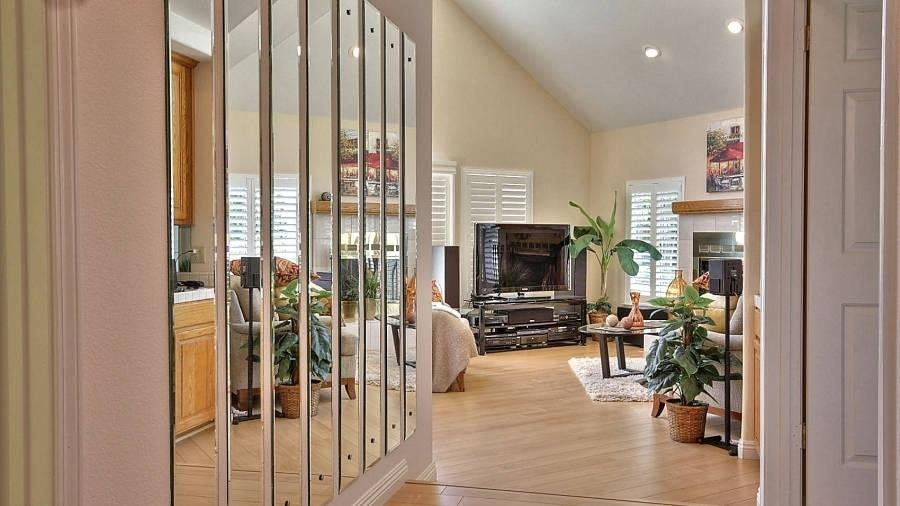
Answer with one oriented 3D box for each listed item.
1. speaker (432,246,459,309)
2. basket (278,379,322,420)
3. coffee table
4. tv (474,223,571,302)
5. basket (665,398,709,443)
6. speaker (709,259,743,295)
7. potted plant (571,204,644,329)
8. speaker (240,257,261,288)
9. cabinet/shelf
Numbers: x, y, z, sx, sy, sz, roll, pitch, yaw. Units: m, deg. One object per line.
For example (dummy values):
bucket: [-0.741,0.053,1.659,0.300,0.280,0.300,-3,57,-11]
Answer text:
speaker: [-0.053,0.268,7.527,0.294,0.736,0.229,-1,4,-4]
basket: [-0.668,0.643,2.810,0.177,0.114,0.169,0,-4,-6]
coffee table: [1.812,0.868,6.449,0.775,0.457,0.975,-9,7,-37]
tv: [0.980,0.059,8.374,1.491,0.951,0.098,0,1,-25]
basket: [1.829,1.247,4.708,0.335,0.249,0.355,-6,-9,41]
speaker: [1.956,0.157,4.457,0.222,0.237,0.223,-1,1,27]
potted plant: [2.174,0.025,8.935,1.178,1.504,1.047,-1,6,-28]
speaker: [-0.813,0.074,2.557,0.109,0.142,0.108,0,0,-2]
cabinet/shelf: [1.019,0.867,8.229,1.514,0.509,0.475,-3,6,-17]
